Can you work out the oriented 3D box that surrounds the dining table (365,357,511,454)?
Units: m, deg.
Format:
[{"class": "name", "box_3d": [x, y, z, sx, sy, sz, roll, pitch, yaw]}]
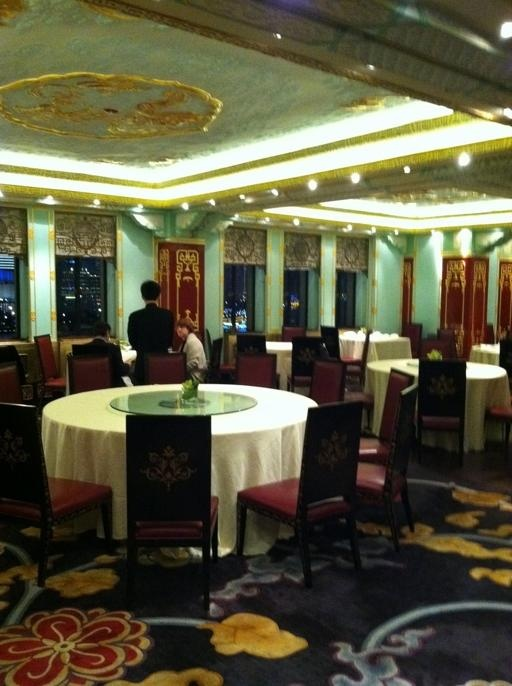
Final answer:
[{"class": "dining table", "box_3d": [2.097, 0.540, 5.640, 1.093, 0.572, 1.103, 1, 2, 8]}]

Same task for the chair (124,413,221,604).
[{"class": "chair", "box_3d": [-0.371, 0.709, 2.298, 0.346, 0.827, 0.188, 0, 2, -12]}]

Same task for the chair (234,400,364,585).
[{"class": "chair", "box_3d": [0.209, 0.713, 2.701, 0.620, 0.861, 0.419, 1, 2, 10]}]
